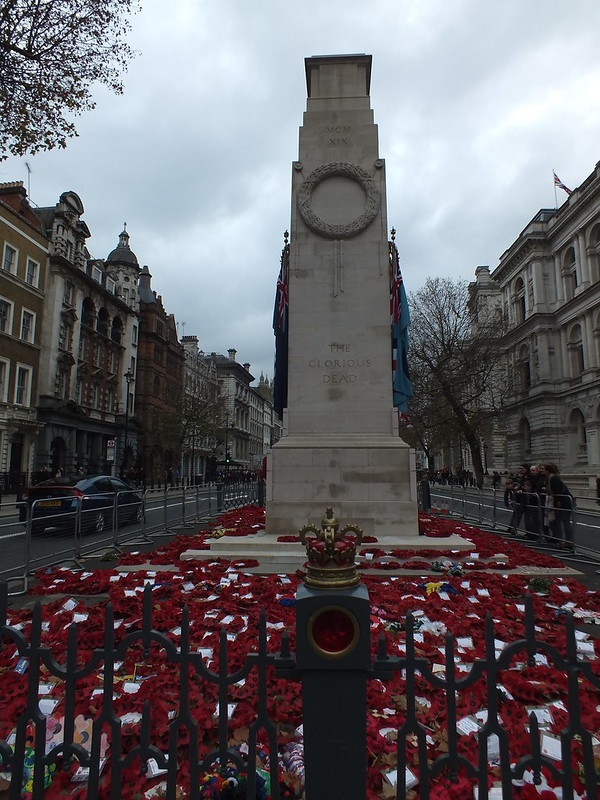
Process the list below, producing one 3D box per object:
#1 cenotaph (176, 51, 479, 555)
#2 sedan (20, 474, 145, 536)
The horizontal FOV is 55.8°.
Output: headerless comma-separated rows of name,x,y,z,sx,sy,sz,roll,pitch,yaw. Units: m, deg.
cenotaph,0.674,-2.680,11.445,3.143,10.545,2.716,1,-7,-16
sedan,-4.261,2.060,11.077,1.515,0.949,2.804,-2,-3,12
